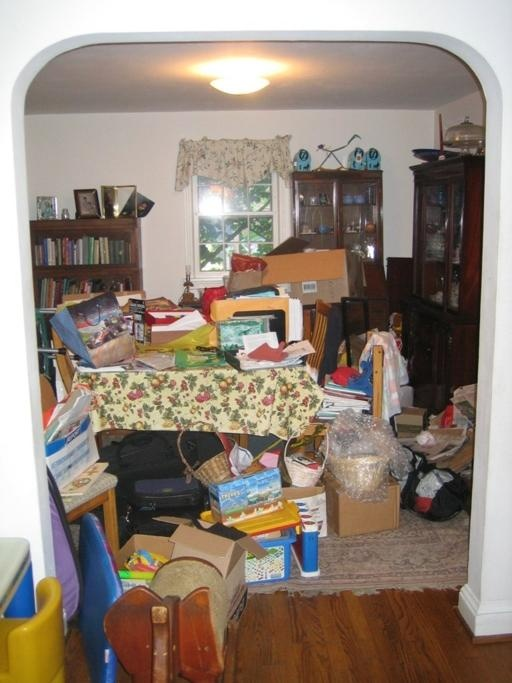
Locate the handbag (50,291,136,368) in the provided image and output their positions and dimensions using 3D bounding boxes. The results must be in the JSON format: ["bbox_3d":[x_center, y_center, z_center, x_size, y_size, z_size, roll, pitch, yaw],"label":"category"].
[{"bbox_3d":[-0.701,-0.038,2.414,0.339,0.332,0.121,-27,13,-8],"label":"handbag"}]

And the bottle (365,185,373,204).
[{"bbox_3d":[1.165,-1.498,5.689,0.080,0.165,0.029,5,10,38],"label":"bottle"}]

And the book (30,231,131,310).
[{"bbox_3d":[-1.636,-0.668,5.053,1.018,0.907,0.320,-1,8,-6],"label":"book"}]

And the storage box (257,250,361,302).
[{"bbox_3d":[0.502,-0.545,4.595,0.786,0.370,0.771,-8,12,-6],"label":"storage box"}]

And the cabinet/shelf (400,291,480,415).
[{"bbox_3d":[1.442,0.099,4.297,0.318,0.863,0.953,-2,8,-2],"label":"cabinet/shelf"}]

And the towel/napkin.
[{"bbox_3d":[0.735,0.218,3.188,0.323,0.532,0.567,1,12,14],"label":"towel/napkin"}]

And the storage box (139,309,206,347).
[{"bbox_3d":[-0.408,-0.075,2.880,0.268,0.160,0.419,-4,9,-20],"label":"storage box"}]

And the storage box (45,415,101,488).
[{"bbox_3d":[-0.644,0.385,1.928,0.057,0.123,0.244,-10,16,17],"label":"storage box"}]

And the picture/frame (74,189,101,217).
[{"bbox_3d":[-1.712,-1.404,5.635,0.313,0.382,0.050,-2,13,-2],"label":"picture/frame"}]

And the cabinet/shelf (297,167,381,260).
[{"bbox_3d":[0.822,-1.163,5.681,0.810,1.051,0.340,0,10,0],"label":"cabinet/shelf"}]

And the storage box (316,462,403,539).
[{"bbox_3d":[0.530,0.834,2.839,0.334,0.192,0.317,-3,0,-13],"label":"storage box"}]

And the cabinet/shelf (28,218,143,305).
[{"bbox_3d":[-1.621,-0.761,5.177,1.134,1.008,0.330,-1,9,-6],"label":"cabinet/shelf"}]

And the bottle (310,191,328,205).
[{"bbox_3d":[0.654,-1.464,5.664,0.164,0.146,0.039,5,-1,17],"label":"bottle"}]
